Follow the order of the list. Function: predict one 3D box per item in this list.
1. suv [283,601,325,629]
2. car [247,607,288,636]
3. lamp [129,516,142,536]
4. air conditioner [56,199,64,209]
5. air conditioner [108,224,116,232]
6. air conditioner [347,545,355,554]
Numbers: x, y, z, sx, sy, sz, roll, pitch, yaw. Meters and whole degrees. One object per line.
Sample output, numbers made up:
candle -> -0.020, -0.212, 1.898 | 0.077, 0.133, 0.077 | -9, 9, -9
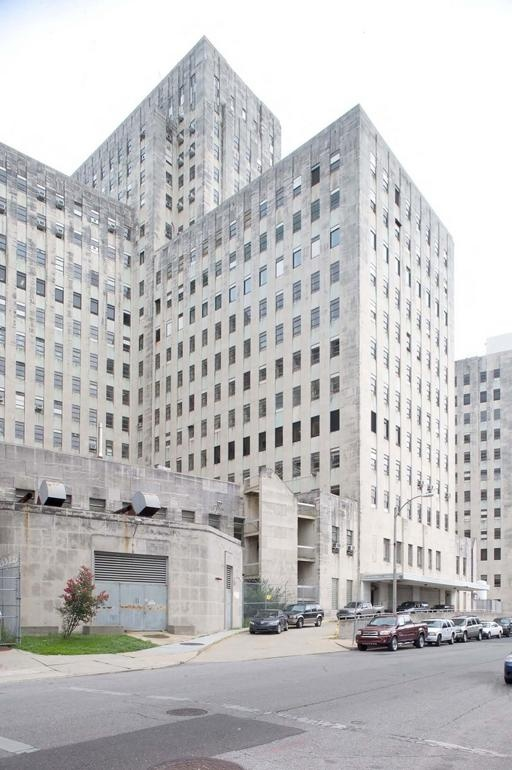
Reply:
suv -> 2.350, 11.539, 50.340 | 1.221, 1.484, 3.323 | -7, -19, 26
car -> 0.454, 10.422, 44.111 | 1.369, 1.332, 3.497 | -2, -18, 9
lamp -> -4.747, 5.555, 38.859 | 0.359, 0.933, 0.537 | 8, -26, -10
air conditioner -> -16.500, -15.032, 83.771 | 0.309, 0.862, 0.637 | -11, -8, 21
air conditioner -> -13.171, -14.128, 90.904 | 0.527, 0.844, 1.239 | 1, 14, -7
air conditioner -> 6.190, 10.716, 65.180 | 0.406, 0.564, 0.429 | -1, -6, 41
